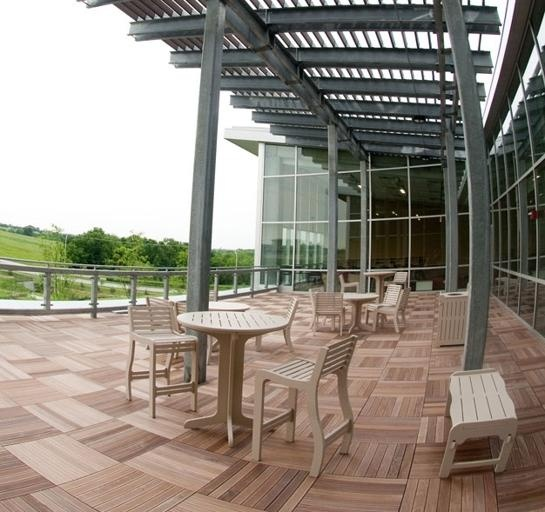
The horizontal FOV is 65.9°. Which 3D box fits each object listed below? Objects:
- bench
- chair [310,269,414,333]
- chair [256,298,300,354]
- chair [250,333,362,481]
[{"bbox_3d":[1.442,1.090,2.949,0.579,0.445,0.791,0,12,9],"label":"bench"},{"bbox_3d":[2.183,0.989,8.269,1.569,0.647,1.505,-6,7,-44],"label":"chair"},{"bbox_3d":[0.052,1.028,6.479,0.683,0.774,0.486,0,7,-5],"label":"chair"},{"bbox_3d":[0.243,1.074,3.150,0.656,0.769,0.616,-4,-7,38],"label":"chair"}]
